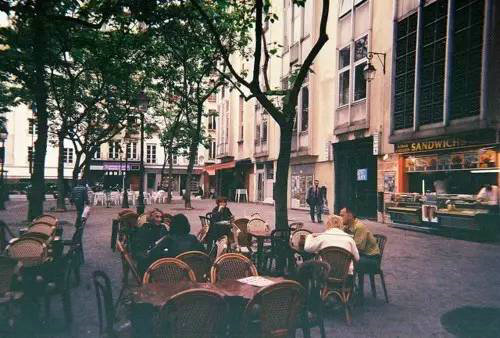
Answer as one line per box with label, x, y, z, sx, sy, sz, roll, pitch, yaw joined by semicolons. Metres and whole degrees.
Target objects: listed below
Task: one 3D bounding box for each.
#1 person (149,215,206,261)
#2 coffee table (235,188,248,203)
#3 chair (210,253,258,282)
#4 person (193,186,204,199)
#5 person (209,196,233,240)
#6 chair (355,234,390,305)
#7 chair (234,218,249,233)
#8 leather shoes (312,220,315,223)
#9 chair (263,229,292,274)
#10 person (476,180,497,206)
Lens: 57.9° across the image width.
person;-1.843;1.650;11.156;1.261;1.773;1.015;2;0;-15
coffee table;-0.836;2.402;41.248;1.069;1.479;1.114;1;-2;-11
chair;-0.431;2.343;10.322;0.661;0.843;0.795;-6;7;-17
person;-5.577;2.613;49.056;0.998;1.272;3.637;0;-4;-8
person;-0.932;1.593;14.554;0.730;1.363;1.491;0;-3;-4
chair;3.184;2.504;12.008;0.879;1.402;0.850;-2;19;23
chair;-0.301;1.843;14.657;0.400;0.488;0.424;0;-11;-14
leather shoes;3.133;2.632;22.484;0.072;0.131;0.123;3;4;28
chair;0.813;2.408;13.210;0.712;1.364;1.335;0;-3;-5
person;9.043;0.950;17.272;0.733;1.445;0.757;0;-4;23
